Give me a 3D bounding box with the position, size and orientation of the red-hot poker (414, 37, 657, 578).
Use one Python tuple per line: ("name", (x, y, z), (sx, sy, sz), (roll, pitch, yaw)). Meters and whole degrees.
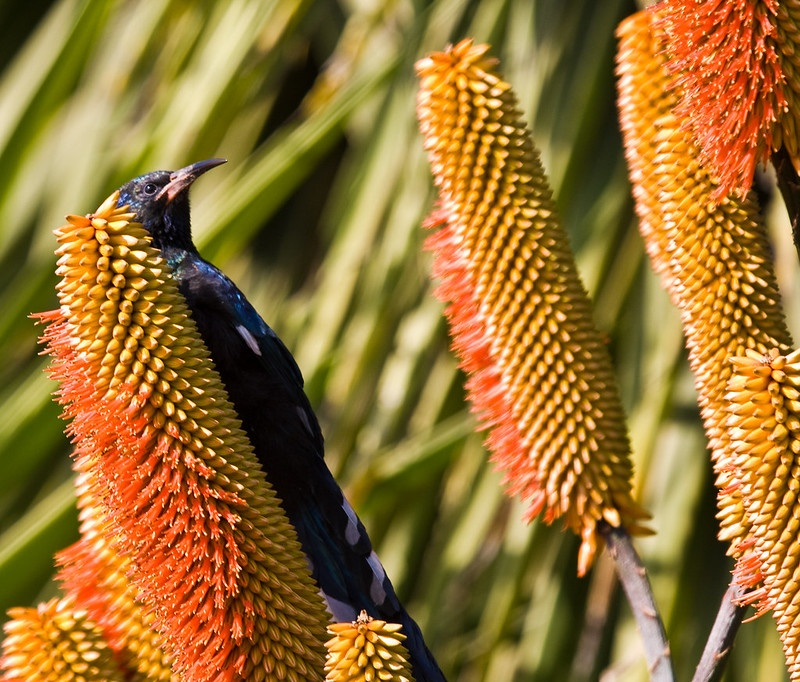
("red-hot poker", (0.315, -0.109, 4.000), (0.761, 1.306, 1.045), (0, 16, -3))
